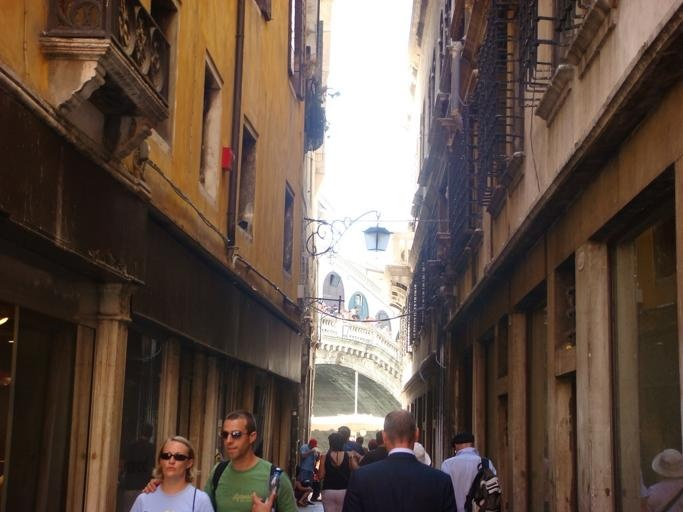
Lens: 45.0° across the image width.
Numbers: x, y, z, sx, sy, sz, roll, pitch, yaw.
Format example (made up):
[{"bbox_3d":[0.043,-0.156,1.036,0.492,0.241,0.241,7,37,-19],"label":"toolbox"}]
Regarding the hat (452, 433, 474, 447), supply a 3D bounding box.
[{"bbox_3d":[1.452,2.199,9.865,0.166,0.129,0.277,-1,-8,1],"label":"hat"}]
